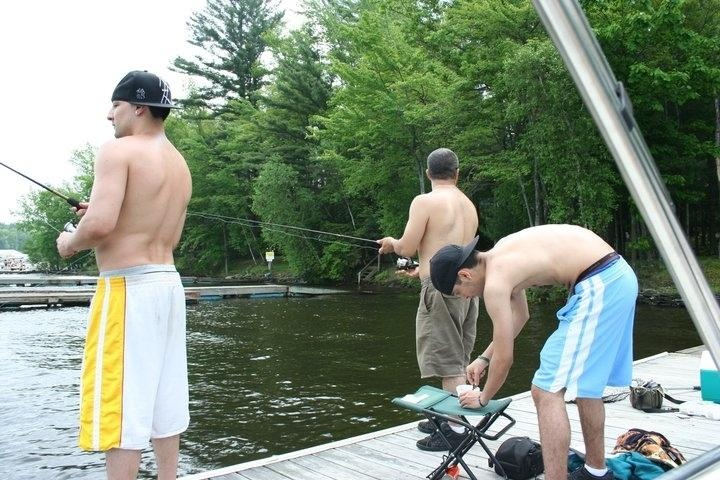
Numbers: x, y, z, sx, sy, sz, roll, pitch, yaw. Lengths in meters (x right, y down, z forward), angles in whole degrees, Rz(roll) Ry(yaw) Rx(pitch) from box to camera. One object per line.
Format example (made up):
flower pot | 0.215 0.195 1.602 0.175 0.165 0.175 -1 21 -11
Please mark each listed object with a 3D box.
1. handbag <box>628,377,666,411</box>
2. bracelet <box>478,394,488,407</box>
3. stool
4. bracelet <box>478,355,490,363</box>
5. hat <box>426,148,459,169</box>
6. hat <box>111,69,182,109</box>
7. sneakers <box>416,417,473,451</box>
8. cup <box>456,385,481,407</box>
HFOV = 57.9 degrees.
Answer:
handbag | 2.762 1.470 6.227 0.303 0.250 0.328 -4 2 2
bracelet | 0.889 1.162 4.706 0.074 0.057 0.073 1 -4 -8
stool | 0.806 1.478 5.039 0.914 0.672 0.583 -1 1 27
bracelet | 0.950 0.910 4.985 0.076 0.028 0.064 38 18 20
hat | 0.728 -0.724 5.733 0.174 0.220 0.223 0 14 1
hat | -1.445 -1.041 4.470 0.484 0.230 0.370 13 17 11
sneakers | 0.659 1.609 5.381 0.598 0.224 0.191 1 7 12
cup | 0.809 1.155 4.850 0.141 0.095 0.137 1 -3 0
